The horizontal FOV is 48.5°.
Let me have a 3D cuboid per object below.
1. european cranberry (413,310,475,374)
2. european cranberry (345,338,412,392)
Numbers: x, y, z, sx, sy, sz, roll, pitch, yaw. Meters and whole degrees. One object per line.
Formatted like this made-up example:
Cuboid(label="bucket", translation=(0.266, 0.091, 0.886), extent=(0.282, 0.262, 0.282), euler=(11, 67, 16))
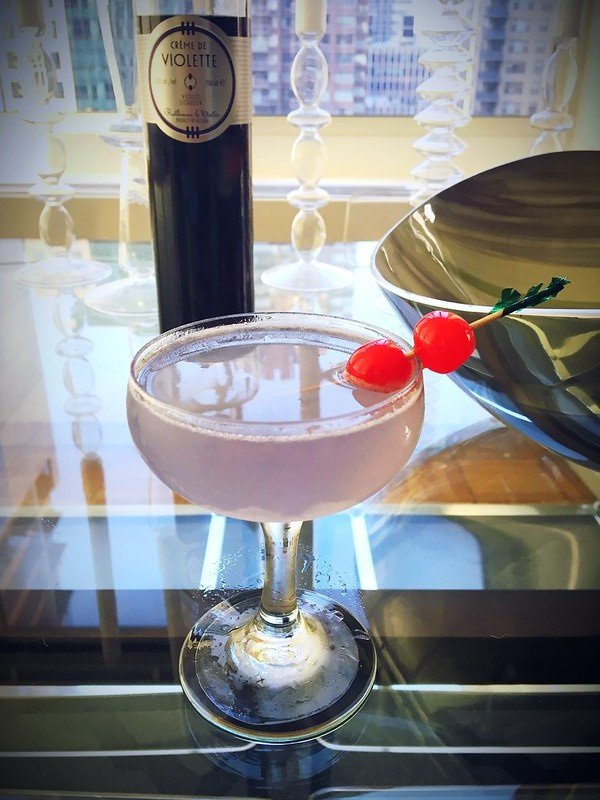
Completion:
Cuboid(label="european cranberry", translation=(0.085, -0.032, 0.411), extent=(0.046, 0.032, 0.034), euler=(-1, -2, -44))
Cuboid(label="european cranberry", translation=(0.048, -0.020, 0.401), extent=(0.030, 0.029, 0.039), euler=(20, -22, -18))
